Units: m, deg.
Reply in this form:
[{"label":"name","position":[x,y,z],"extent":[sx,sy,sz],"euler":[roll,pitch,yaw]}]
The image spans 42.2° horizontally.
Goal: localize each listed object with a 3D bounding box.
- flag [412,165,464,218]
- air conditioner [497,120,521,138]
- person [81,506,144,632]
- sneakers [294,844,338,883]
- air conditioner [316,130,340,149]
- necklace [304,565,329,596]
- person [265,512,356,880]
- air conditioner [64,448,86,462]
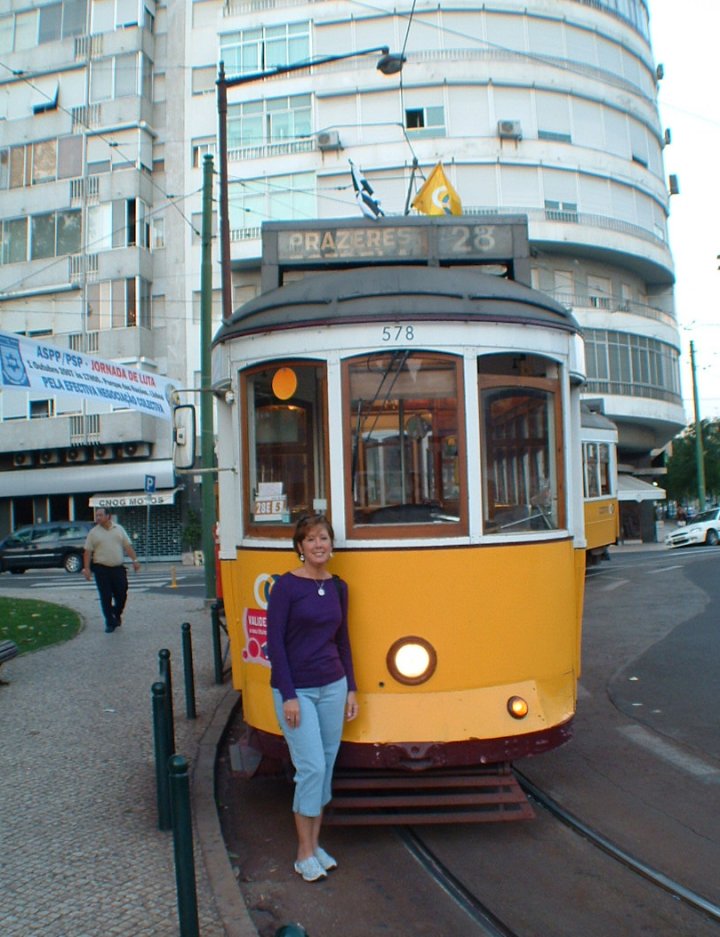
[{"label":"flag","position":[0.593,-2.169,7.207],"extent":[0.350,0.561,0.565],"euler":[-3,-2,1]},{"label":"air conditioner","position":[5.080,-11.642,32.130],"extent":[0.892,0.681,0.509],"euler":[0,-5,-9]},{"label":"person","position":[-3.185,1.258,11.949],"extent":[0.594,1.524,1.925],"euler":[-2,-2,-15]},{"label":"sneakers","position":[-0.196,1.780,4.214],"extent":[0.110,0.069,0.166],"euler":[4,-13,-22]},{"label":"air conditioner","position":[-1.095,-11.216,31.910],"extent":[0.843,0.825,0.514],"euler":[0,-2,4]},{"label":"necklace","position":[-0.209,0.513,4.300],"extent":[0.107,0.114,0.058],"euler":[8,-17,-32]},{"label":"person","position":[-0.214,1.032,4.268],"extent":[0.402,1.635,0.315],"euler":[-2,-2,-8]},{"label":"air conditioner","position":[-10.465,-0.506,34.319],"extent":[1.029,0.563,0.329],"euler":[-4,-2,30]}]
